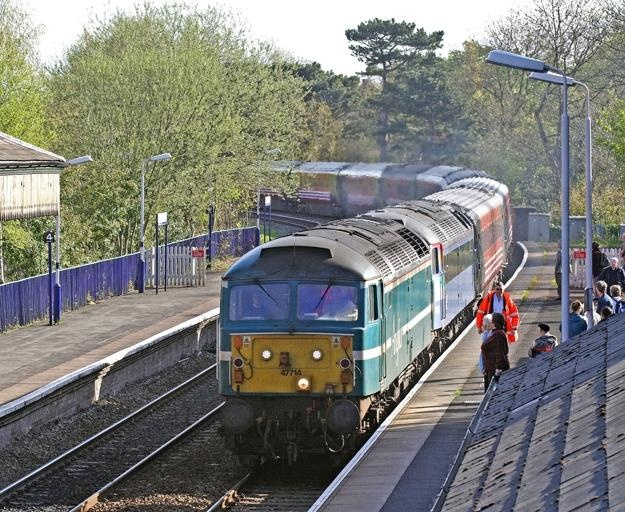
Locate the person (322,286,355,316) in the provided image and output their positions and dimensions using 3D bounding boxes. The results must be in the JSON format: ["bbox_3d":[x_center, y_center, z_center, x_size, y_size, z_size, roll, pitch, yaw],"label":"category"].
[{"bbox_3d":[0.477,0.803,14.586,0.366,0.566,0.756,0,-1,11],"label":"person"}]
